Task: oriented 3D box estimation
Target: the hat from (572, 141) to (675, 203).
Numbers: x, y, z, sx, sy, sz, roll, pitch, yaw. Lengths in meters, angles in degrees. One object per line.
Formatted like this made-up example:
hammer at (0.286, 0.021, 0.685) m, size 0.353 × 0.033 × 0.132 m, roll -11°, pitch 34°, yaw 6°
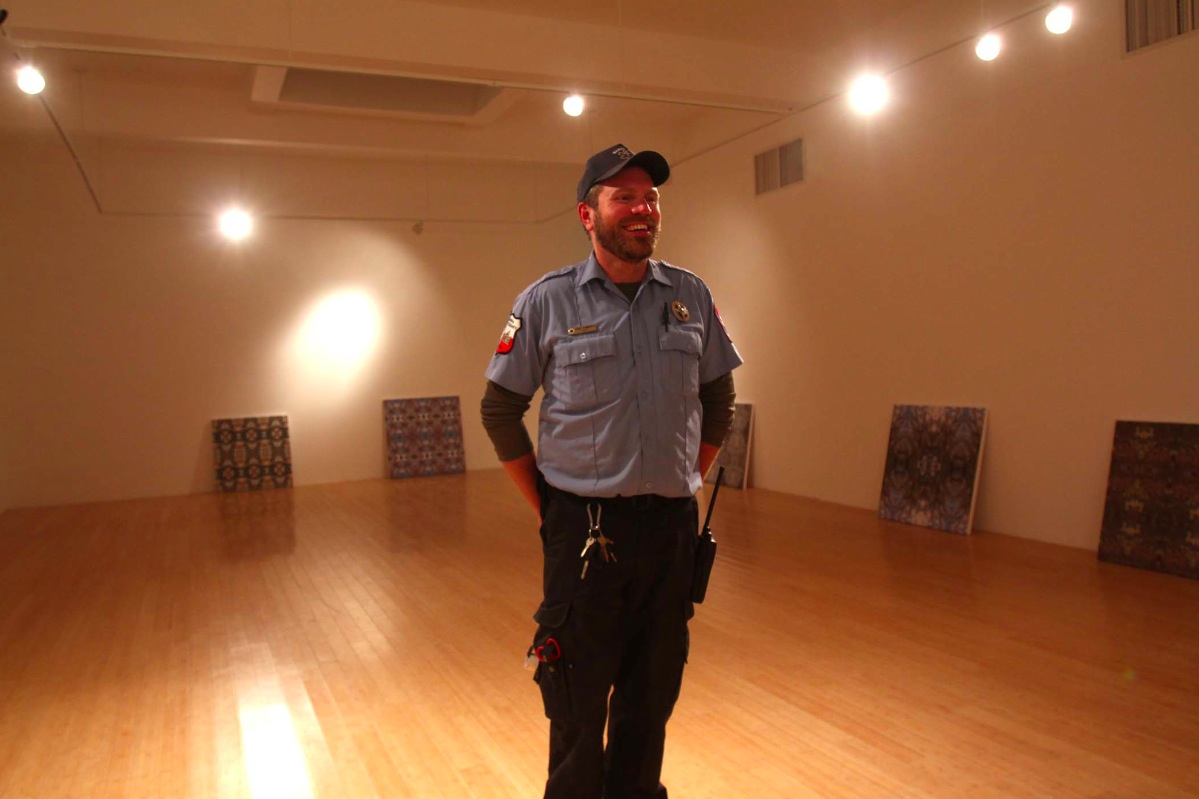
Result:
hat at (0.091, -0.914, 3.075) m, size 0.345 × 0.237 × 0.262 m, roll -2°, pitch 9°, yaw 4°
